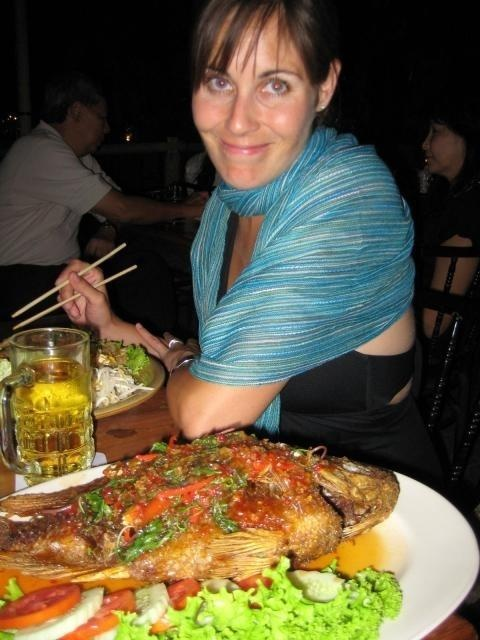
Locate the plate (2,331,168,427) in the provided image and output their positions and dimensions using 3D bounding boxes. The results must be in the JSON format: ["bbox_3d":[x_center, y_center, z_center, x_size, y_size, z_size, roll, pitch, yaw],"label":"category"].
[{"bbox_3d":[-0.379,0.105,1.688,0.617,0.220,0.462,-9,14,-41],"label":"plate"}]
